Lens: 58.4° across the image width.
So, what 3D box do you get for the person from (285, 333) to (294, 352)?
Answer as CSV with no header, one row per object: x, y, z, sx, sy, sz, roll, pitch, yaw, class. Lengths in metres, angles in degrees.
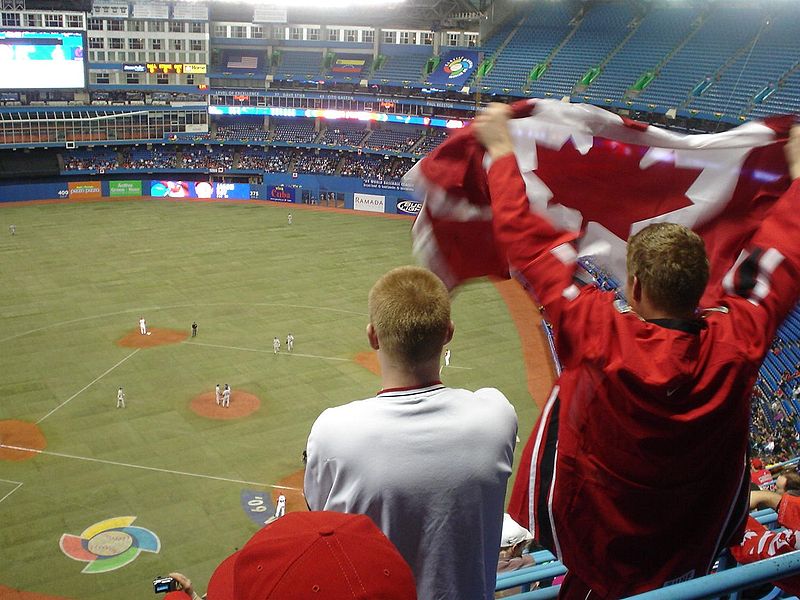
-5.290,2.093,34.296,0.344,0.474,0.901,5,27,-6,person

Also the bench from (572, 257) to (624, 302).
1.431,-0.154,5.201,0.313,0.236,1.123,30,10,17,bench
